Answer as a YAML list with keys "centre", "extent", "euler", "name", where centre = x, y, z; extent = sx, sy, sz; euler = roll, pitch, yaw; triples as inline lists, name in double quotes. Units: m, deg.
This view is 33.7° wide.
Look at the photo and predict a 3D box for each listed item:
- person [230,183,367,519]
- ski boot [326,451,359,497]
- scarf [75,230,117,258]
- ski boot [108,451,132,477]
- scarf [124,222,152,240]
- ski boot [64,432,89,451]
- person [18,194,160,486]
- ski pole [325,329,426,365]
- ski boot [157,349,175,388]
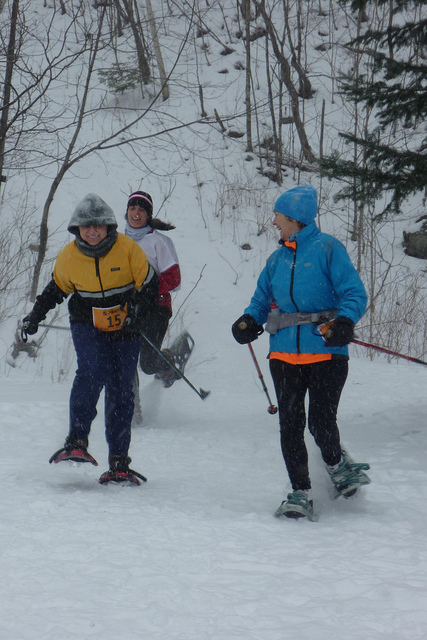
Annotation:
- centre: [0.550, 0.143, 3.837]
  extent: [0.593, 1.823, 0.856]
  euler: [2, 4, -37]
  name: "person"
- centre: [0.699, 0.846, 3.831]
  extent: [0.177, 0.160, 0.107]
  euler: [5, 3, 10]
  name: "ski boot"
- centre: [-0.668, -0.433, 3.936]
  extent: [0.241, 0.165, 0.169]
  euler: [4, 3, -2]
  name: "scarf"
- centre: [-0.535, 0.836, 4.079]
  extent: [0.129, 0.130, 0.114]
  euler: [0, -8, -2]
  name: "ski boot"
- centre: [-0.601, -0.704, 5.508]
  extent: [0.151, 0.088, 0.174]
  euler: [2, 10, 0]
  name: "scarf"
- centre: [-0.754, 0.660, 3.867]
  extent: [0.124, 0.087, 0.164]
  euler: [4, 3, -11]
  name: "ski boot"
- centre: [-0.681, 0.125, 4.002]
  extent: [0.700, 1.645, 0.517]
  euler: [4, 3, -14]
  name: "person"
- centre: [1.617, 0.261, 6.699]
  extent: [0.813, 0.095, 0.088]
  euler: [23, 44, 3]
  name: "ski pole"
- centre: [-0.411, 0.407, 6.026]
  extent: [0.137, 0.185, 0.570]
  euler: [25, -19, 8]
  name: "ski boot"
